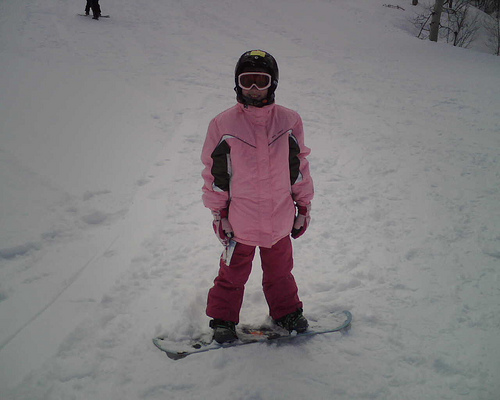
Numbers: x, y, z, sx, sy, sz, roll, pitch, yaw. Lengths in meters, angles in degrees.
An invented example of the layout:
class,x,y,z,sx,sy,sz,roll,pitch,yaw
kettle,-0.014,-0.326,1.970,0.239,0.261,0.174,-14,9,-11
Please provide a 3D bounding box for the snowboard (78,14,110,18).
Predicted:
class,x,y,z,sx,sy,sz,roll,pitch,yaw
snowboard,-4.132,-4.895,14.388,0.831,0.086,0.356,-3,16,-23

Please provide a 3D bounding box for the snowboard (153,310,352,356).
class,x,y,z,sx,sy,sz,roll,pitch,yaw
snowboard,0.050,1.605,6.486,1.983,0.181,0.290,-7,7,-6
